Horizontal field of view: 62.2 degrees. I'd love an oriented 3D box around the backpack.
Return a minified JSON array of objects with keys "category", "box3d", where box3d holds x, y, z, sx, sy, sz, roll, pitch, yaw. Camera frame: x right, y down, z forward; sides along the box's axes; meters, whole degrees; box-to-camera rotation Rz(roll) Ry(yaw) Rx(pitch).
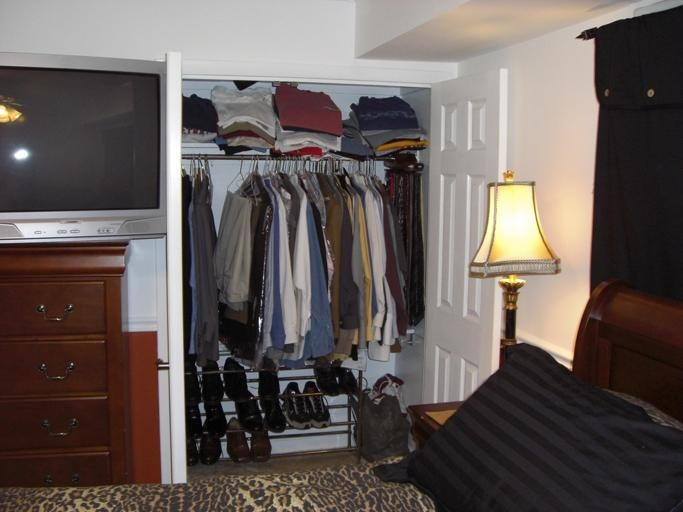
[{"category":"backpack","box3d":[0.247,1.068,3.713,0.405,0.442,0.311,-3,3,-10]}]
